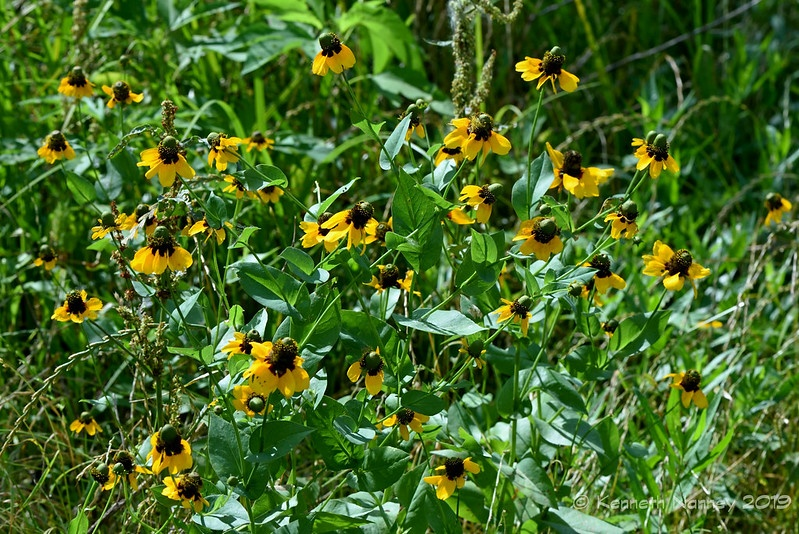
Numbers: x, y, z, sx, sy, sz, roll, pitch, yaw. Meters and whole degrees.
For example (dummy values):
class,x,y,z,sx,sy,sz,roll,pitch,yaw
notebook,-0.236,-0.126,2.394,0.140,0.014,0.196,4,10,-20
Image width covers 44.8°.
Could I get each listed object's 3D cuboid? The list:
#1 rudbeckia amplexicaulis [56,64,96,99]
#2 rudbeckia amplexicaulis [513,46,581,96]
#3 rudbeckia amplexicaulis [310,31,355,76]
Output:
class,x,y,z,sx,sy,sz,roll,pitch,yaw
rudbeckia amplexicaulis,-1.410,-0.799,4.218,0.133,0.169,0.150,2,34,-17
rudbeckia amplexicaulis,0.570,-0.747,3.810,0.217,0.120,0.242,22,29,-14
rudbeckia amplexicaulis,-0.269,-0.795,3.739,0.139,0.181,0.197,-3,37,-23
